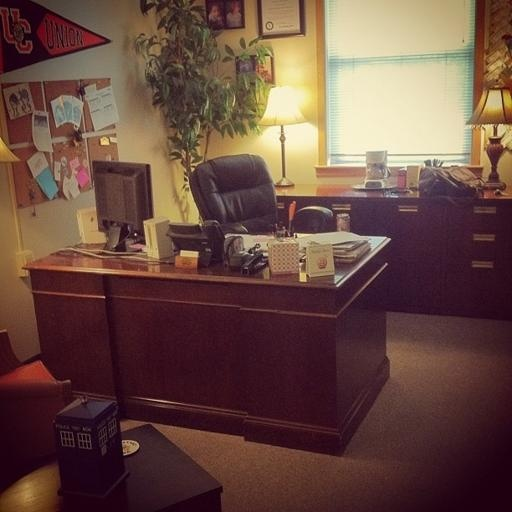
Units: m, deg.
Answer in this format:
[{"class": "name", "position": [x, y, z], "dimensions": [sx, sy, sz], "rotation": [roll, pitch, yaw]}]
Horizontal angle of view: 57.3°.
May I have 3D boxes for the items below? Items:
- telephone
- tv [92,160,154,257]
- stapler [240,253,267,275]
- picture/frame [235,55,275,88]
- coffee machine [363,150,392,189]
[{"class": "telephone", "position": [-0.243, -0.065, 2.137], "dimensions": [0.159, 0.177, 0.225], "rotation": [2, 17, 16]}, {"class": "tv", "position": [-0.652, -0.231, 2.293], "dimensions": [0.326, 0.469, 0.162], "rotation": [10, 22, 22]}, {"class": "stapler", "position": [-0.002, 0.029, 2.000], "dimensions": [0.073, 0.064, 0.172], "rotation": [2, 12, 24]}, {"class": "picture/frame", "position": [-0.013, -1.710, 4.329], "dimensions": [0.376, 0.275, 0.058], "rotation": [0, 9, 12]}, {"class": "coffee machine", "position": [0.973, -0.704, 3.776], "dimensions": [0.180, 0.305, 0.175], "rotation": [-4, 10, -14]}]
